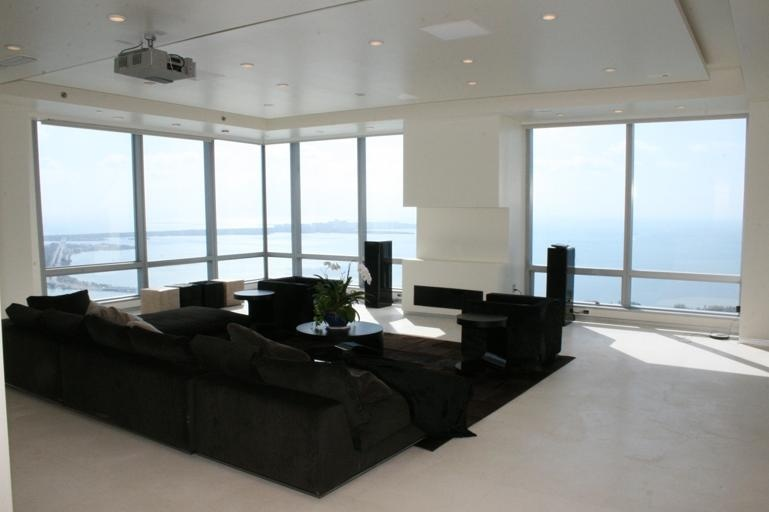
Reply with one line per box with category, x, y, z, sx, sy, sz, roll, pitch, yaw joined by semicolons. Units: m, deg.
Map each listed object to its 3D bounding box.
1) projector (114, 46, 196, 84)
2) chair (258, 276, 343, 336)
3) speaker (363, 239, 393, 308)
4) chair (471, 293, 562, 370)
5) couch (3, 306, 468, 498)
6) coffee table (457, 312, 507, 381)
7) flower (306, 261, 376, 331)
projector;-2.782;-2.221;6.425;0.595;0.199;0.567;4;6;25
chair;-1.626;0.881;9.714;1.181;0.949;1.130;-9;-12;6
speaker;-0.108;0.362;11.365;0.552;1.343;0.576;0;0;20
chair;1.839;0.950;7.709;1.060;0.876;1.054;4;7;35
couch;-1.977;1.198;5.911;5.428;1.132;1.621;5;14;20
coffee table;1.320;1.179;7.547;0.750;0.835;0.795;-4;5;-45
flower;-0.594;0.527;7.665;0.890;0.883;0.812;8;-9;-29
